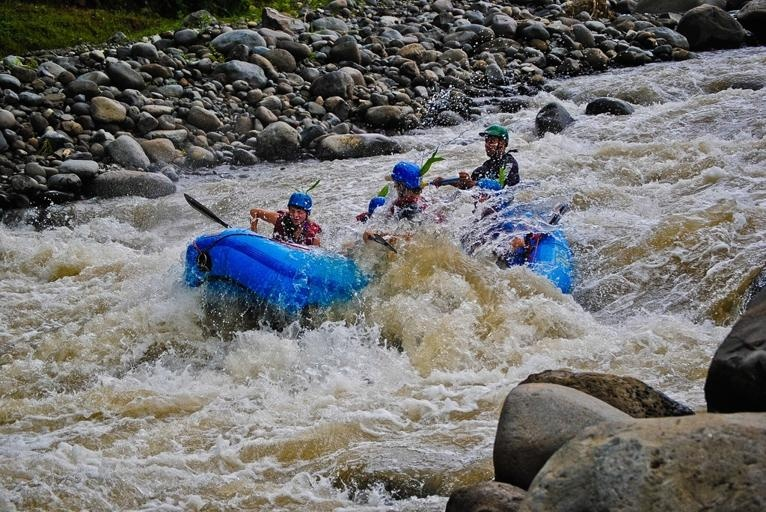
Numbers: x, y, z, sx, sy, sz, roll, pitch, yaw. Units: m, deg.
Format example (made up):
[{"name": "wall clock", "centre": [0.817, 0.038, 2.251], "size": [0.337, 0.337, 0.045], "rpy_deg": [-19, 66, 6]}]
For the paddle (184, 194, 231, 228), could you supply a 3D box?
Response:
[{"name": "paddle", "centre": [-3.216, -0.811, 21.151], "size": [1.086, 0.139, 0.114], "rpy_deg": [38, 0, -16]}]

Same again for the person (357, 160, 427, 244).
[{"name": "person", "centre": [0.207, -0.961, 19.493], "size": [0.916, 1.461, 0.619], "rpy_deg": [27, 1, 41]}]

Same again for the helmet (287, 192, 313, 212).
[{"name": "helmet", "centre": [-1.382, -0.917, 19.356], "size": [0.349, 0.415, 0.468], "rpy_deg": [2, 26, 2]}]

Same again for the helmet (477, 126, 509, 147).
[{"name": "helmet", "centre": [2.011, -2.208, 20.734], "size": [0.473, 0.218, 0.344], "rpy_deg": [21, -5, -20]}]

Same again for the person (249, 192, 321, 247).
[{"name": "person", "centre": [-1.669, -0.605, 19.902], "size": [1.091, 0.477, 1.425], "rpy_deg": [17, -20, -21]}]

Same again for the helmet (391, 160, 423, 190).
[{"name": "helmet", "centre": [0.426, -1.443, 19.402], "size": [0.387, 0.409, 0.494], "rpy_deg": [-24, 56, -39]}]

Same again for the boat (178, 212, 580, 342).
[{"name": "boat", "centre": [0.010, -0.079, 18.970], "size": [6.510, 1.710, 1.547], "rpy_deg": [-4, 27, -9]}]
